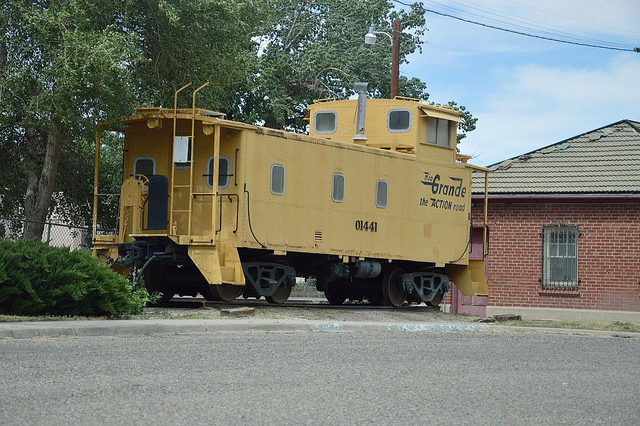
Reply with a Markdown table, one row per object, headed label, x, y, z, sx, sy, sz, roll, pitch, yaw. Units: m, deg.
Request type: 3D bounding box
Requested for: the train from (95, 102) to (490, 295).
| label | x | y | z | sx | sy | sz | roll | pitch | yaw |
| --- | --- | --- | --- | --- | --- | --- | --- | --- | --- |
| train | -0.274 | -0.809 | 19.364 | 10.808 | 5.777 | 2.741 | 4 | -2 | -28 |
